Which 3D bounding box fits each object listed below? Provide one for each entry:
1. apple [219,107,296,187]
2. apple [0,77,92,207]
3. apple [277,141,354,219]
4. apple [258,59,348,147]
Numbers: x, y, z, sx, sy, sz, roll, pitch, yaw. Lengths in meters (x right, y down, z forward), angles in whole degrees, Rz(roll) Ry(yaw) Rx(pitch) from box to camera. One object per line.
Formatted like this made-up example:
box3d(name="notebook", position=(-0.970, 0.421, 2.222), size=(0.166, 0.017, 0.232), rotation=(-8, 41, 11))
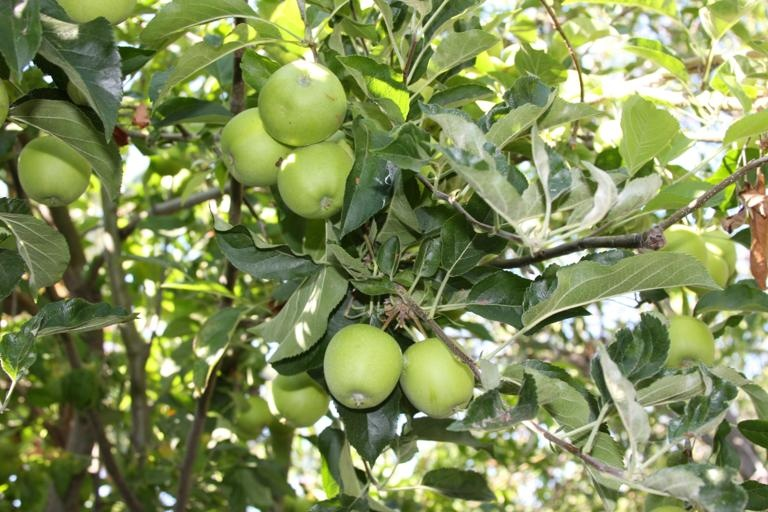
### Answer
box3d(name="apple", position=(-0.425, -0.358, 3.007), size=(0.276, 0.251, 0.250), rotation=(9, 37, 46))
box3d(name="apple", position=(-1.197, -0.304, 3.055), size=(0.227, 0.309, 0.164), rotation=(24, 17, 14))
box3d(name="apple", position=(-0.241, -0.250, 2.889), size=(0.199, 0.215, 0.277), rotation=(0, 50, -16))
box3d(name="apple", position=(-0.253, -0.486, 2.882), size=(0.258, 0.269, 0.280), rotation=(-3, -31, 27))
